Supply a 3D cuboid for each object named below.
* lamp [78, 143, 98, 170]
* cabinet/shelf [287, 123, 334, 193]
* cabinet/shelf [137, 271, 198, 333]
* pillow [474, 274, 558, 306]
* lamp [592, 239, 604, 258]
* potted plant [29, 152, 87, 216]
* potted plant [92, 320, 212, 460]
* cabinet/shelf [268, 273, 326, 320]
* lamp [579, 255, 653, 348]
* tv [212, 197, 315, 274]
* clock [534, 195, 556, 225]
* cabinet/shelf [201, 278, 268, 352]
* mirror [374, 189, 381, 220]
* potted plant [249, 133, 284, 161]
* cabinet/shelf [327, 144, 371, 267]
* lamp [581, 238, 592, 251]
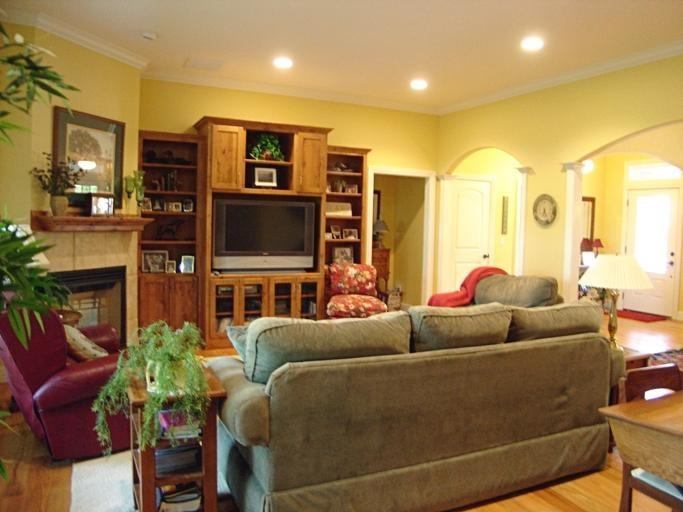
[{"bbox_3d":[-2.525,-0.971,5.209,0.174,0.178,0.171,2,2,30],"label":"lamp"},{"bbox_3d":[-0.385,-1.180,6.533,0.477,0.793,0.200,0,1,-6],"label":"cabinet/shelf"},{"bbox_3d":[-1.910,0.469,5.667,0.695,0.662,0.263,0,0,-28],"label":"cabinet/shelf"},{"bbox_3d":[1.604,0.320,4.817,0.365,0.288,0.870,-1,0,-18],"label":"pillow"},{"bbox_3d":[4.591,-0.177,9.369,0.160,0.302,0.481,0,0,27],"label":"lamp"},{"bbox_3d":[-2.635,-0.683,4.969,0.469,0.681,0.622,-3,-1,-26],"label":"potted plant"},{"bbox_3d":[-1.076,0.703,2.965,0.730,0.667,0.329,0,1,25],"label":"potted plant"},{"bbox_3d":[-0.577,0.481,6.411,0.582,0.539,0.223,0,0,-27],"label":"cabinet/shelf"},{"bbox_3d":[2.316,0.254,4.163,0.669,0.818,0.680,3,8,36],"label":"lamp"},{"bbox_3d":[-1.018,-0.271,6.476,0.948,0.662,0.128,-1,5,-20],"label":"tv"},{"bbox_3d":[2.386,-0.537,6.160,0.050,0.385,0.309,-1,1,-31],"label":"clock"},{"bbox_3d":[-1.162,0.587,5.403,0.844,0.956,0.360,0,0,-26],"label":"cabinet/shelf"},{"bbox_3d":[0.570,-0.820,8.303,0.186,0.463,0.069,-1,1,-42],"label":"mirror"},{"bbox_3d":[-0.918,-1.338,6.465,0.377,0.383,0.176,7,-13,-8],"label":"potted plant"},{"bbox_3d":[0.100,-0.682,7.089,0.623,1.529,0.446,0,1,-3],"label":"cabinet/shelf"},{"bbox_3d":[4.326,-0.202,9.219,0.257,0.235,0.123,-1,1,-16],"label":"lamp"}]
